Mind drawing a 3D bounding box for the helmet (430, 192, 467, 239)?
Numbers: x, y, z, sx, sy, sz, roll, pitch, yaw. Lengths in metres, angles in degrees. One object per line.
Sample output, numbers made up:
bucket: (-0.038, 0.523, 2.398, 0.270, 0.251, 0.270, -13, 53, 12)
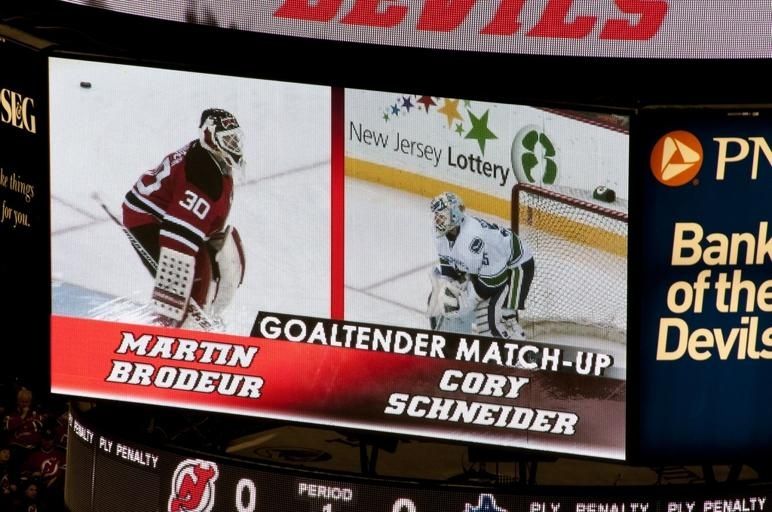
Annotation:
helmet: (0.644, -0.464, 13.997, 0.421, 0.462, 0.350, -20, 9, -10)
